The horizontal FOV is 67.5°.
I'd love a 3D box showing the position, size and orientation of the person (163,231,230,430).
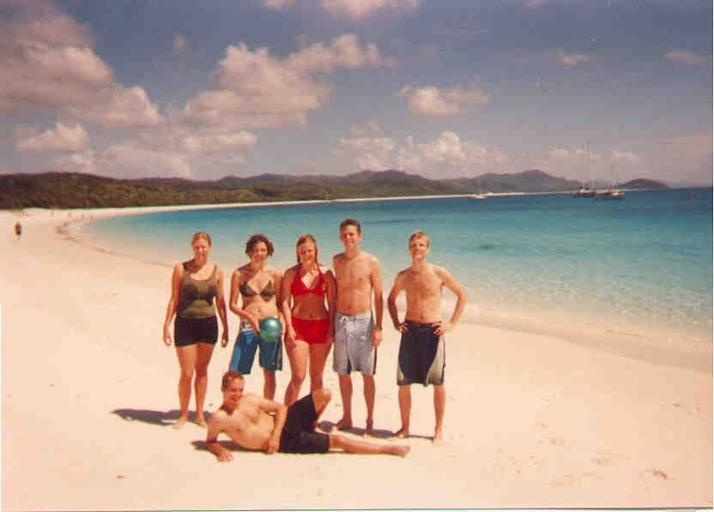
[{"bbox_3d":[-2.806,1.288,9.341,1.025,3.391,0.430,0,2,-11],"label":"person"}]
